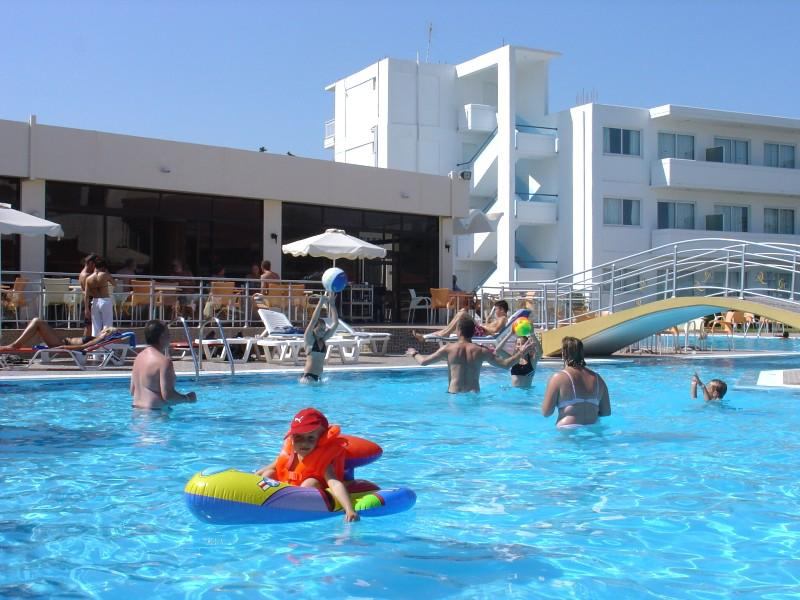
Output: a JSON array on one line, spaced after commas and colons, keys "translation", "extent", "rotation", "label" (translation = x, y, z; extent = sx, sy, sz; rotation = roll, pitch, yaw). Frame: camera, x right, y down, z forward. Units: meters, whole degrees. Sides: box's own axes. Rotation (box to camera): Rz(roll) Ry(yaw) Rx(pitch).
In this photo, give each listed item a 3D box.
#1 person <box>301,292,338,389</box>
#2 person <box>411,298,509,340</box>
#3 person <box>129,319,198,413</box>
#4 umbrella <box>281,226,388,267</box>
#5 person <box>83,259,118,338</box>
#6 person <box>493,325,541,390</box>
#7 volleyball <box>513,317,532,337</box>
[{"translation": [-1.319, 0.850, 15.520], "extent": [0.526, 1.950, 0.482], "rotation": [4, 0, -14], "label": "person"}, {"translation": [1.616, 0.462, 19.125], "extent": [1.548, 0.994, 1.252], "rotation": [1, 1, 44], "label": "person"}, {"translation": [-3.239, 0.964, 12.942], "extent": [0.792, 1.307, 0.715], "rotation": [2, 3, -33], "label": "person"}, {"translation": [-1.530, -1.149, 21.483], "extent": [2.462, 0.971, 2.629], "rotation": [4, 1, 8], "label": "umbrella"}, {"translation": [-5.607, -0.035, 17.567], "extent": [0.504, 1.605, 0.598], "rotation": [0, 6, -30], "label": "person"}, {"translation": [1.973, 0.949, 15.575], "extent": [0.714, 1.133, 0.687], "rotation": [1, 1, 16], "label": "person"}, {"translation": [2.058, 0.467, 15.874], "extent": [0.267, 0.278, 0.307], "rotation": [21, -20, -32], "label": "volleyball"}]
